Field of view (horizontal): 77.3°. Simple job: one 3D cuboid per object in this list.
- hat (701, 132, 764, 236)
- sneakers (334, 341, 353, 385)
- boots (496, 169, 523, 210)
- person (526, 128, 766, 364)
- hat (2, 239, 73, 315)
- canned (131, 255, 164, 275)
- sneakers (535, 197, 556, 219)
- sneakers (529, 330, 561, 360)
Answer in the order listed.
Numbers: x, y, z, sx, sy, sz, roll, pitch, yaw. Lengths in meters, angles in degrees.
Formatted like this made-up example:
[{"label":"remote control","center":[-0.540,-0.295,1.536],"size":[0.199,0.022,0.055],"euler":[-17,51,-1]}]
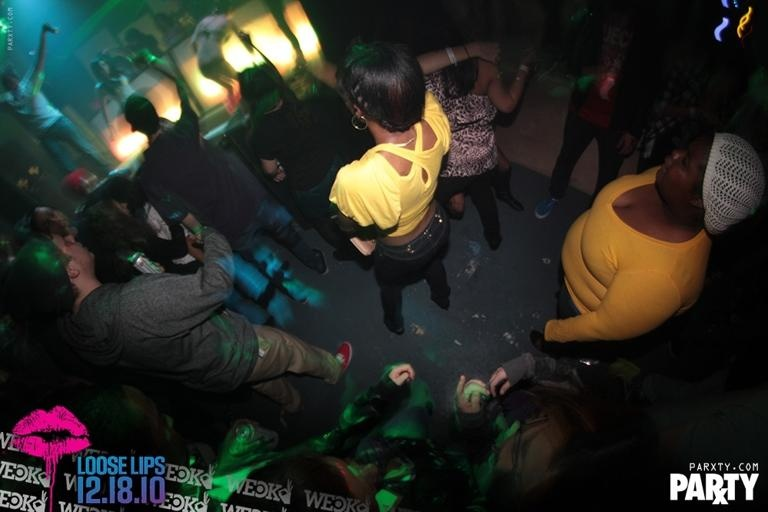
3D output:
[{"label":"hat","center":[2.433,-0.498,3.364],"size":[0.348,0.547,0.538],"euler":[14,56,35]},{"label":"sneakers","center":[-0.419,1.126,5.034],"size":[0.132,0.361,0.157],"euler":[10,8,18]},{"label":"boots","center":[1.438,-0.779,5.420],"size":[0.156,0.474,0.386],"euler":[-40,53,-21]},{"label":"person","center":[2.250,-0.016,4.064],"size":[0.802,2.203,1.252],"euler":[36,76,6]},{"label":"hat","center":[-2.683,0.172,3.813],"size":[0.538,0.658,0.195],"euler":[1,4,7]},{"label":"canned","center":[-1.985,0.081,4.049],"size":[0.170,0.225,0.096],"euler":[-47,25,14]},{"label":"sneakers","center":[1.834,-0.542,5.472],"size":[0.179,0.172,0.095],"euler":[-42,42,8]},{"label":"sneakers","center":[1.552,0.863,4.630],"size":[0.387,0.264,0.140],"euler":[34,97,23]}]
